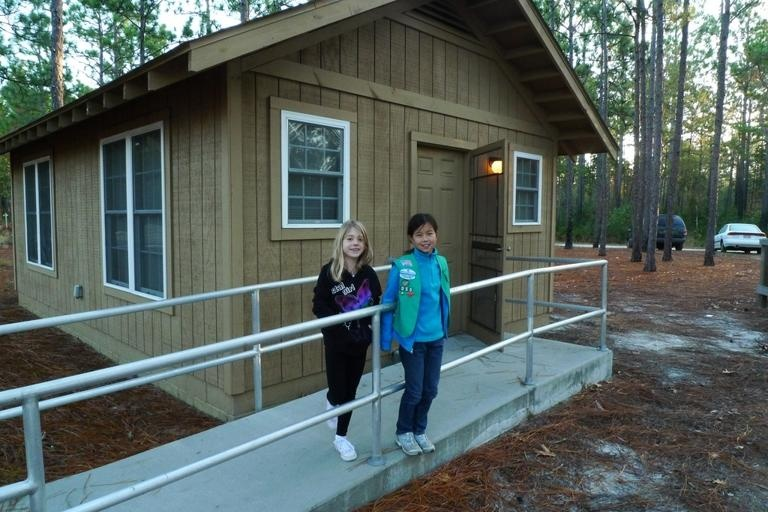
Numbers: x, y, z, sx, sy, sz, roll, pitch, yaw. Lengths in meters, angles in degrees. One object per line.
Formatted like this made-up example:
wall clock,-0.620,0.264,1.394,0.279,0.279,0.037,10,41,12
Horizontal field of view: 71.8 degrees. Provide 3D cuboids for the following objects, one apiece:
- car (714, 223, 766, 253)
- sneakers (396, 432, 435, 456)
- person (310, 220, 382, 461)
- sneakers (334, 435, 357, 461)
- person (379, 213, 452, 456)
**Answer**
car,15.058,-0.763,22.590,1.391,1.066,3.308,2,6,24
sneakers,0.292,1.753,4.959,0.197,0.126,0.298,3,-7,-38
person,-0.332,0.738,4.995,0.529,2.141,0.595,8,13,41
sneakers,-0.348,1.751,4.898,0.197,0.186,0.215,-3,10,-13
person,0.277,0.741,4.955,0.445,2.245,0.688,7,12,38
